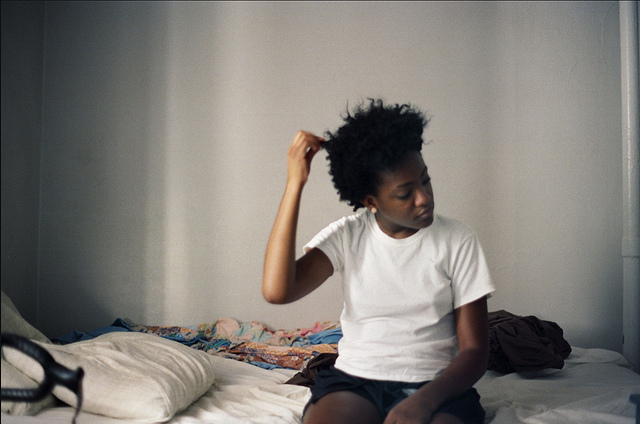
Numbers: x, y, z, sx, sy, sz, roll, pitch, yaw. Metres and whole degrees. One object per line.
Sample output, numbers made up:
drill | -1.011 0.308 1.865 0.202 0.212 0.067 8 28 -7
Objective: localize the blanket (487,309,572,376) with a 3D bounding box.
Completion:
blanket | 0.983 0.620 2.935 0.329 0.125 0.336 -1 -5 6

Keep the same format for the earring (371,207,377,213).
earring | 0.207 -0.010 2.389 0.022 0.020 0.022 0 2 -4
